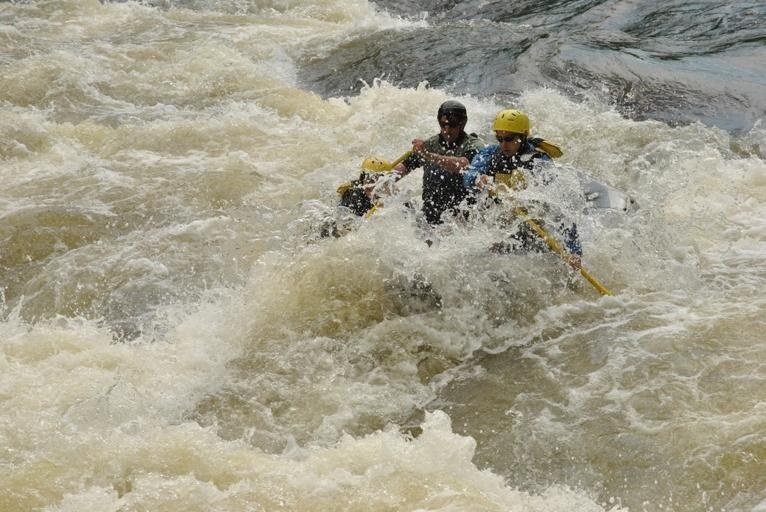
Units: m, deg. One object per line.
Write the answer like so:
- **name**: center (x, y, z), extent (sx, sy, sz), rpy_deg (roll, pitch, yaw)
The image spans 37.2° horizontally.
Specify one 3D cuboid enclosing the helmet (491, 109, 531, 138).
- **helmet**: center (1.967, -2.061, 17.495), extent (0.505, 0.277, 0.417), rpy_deg (-19, 26, -40)
